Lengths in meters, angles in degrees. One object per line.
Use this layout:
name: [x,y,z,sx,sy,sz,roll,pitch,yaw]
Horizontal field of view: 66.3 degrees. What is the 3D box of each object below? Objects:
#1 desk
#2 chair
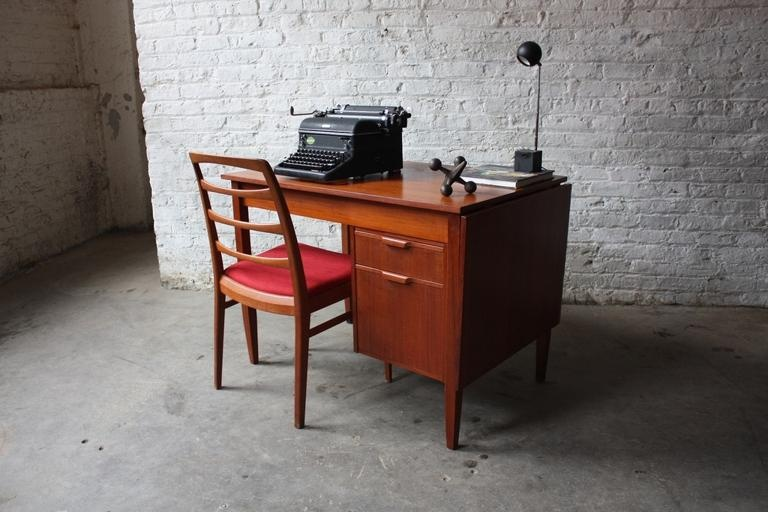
desk: [0.057,0.103,3.413,1.659,1.037,1.057,13,19,42]
chair: [-0.432,0.107,3.263,1.111,1.277,0.977,-4,14,-20]
